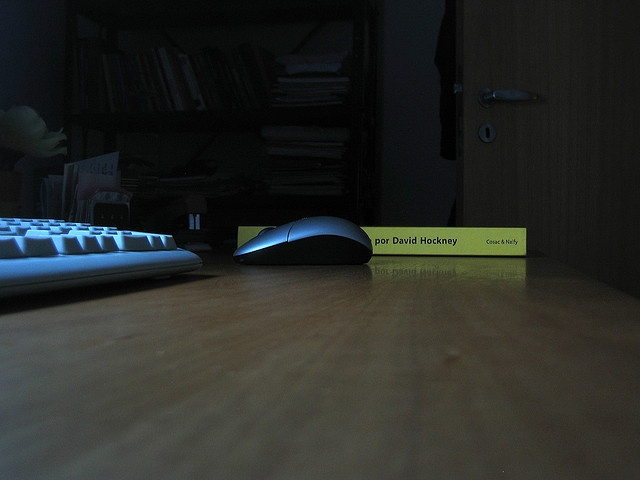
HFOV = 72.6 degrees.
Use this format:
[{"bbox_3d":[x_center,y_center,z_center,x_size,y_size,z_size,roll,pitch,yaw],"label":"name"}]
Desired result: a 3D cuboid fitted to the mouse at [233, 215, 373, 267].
[{"bbox_3d":[-0.023,0.004,0.612,0.153,0.048,0.085,1,-2,3],"label":"mouse"}]
